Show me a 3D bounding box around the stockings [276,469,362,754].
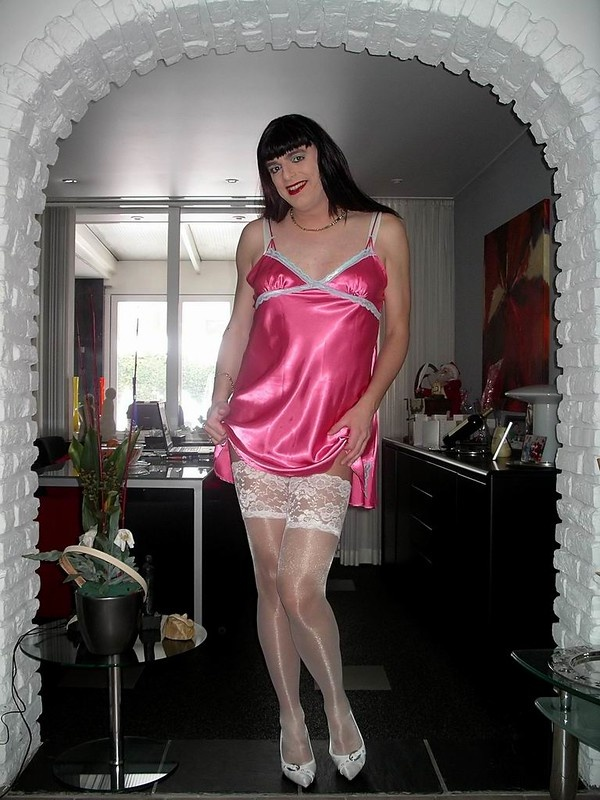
[{"bbox_3d":[0.046,0.445,1.229,0.126,0.538,0.129,-6,-3,22],"label":"stockings"}]

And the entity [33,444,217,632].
[{"bbox_3d":[-0.736,0.554,2.720,0.667,0.738,0.673,1,3,2],"label":"entity"}]

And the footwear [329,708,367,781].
[{"bbox_3d":[0.105,0.753,1.305,0.071,0.026,0.227,-15,10,-2],"label":"footwear"}]

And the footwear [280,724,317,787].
[{"bbox_3d":[-0.007,0.778,1.296,0.067,0.040,0.235,4,-1,-7],"label":"footwear"}]
